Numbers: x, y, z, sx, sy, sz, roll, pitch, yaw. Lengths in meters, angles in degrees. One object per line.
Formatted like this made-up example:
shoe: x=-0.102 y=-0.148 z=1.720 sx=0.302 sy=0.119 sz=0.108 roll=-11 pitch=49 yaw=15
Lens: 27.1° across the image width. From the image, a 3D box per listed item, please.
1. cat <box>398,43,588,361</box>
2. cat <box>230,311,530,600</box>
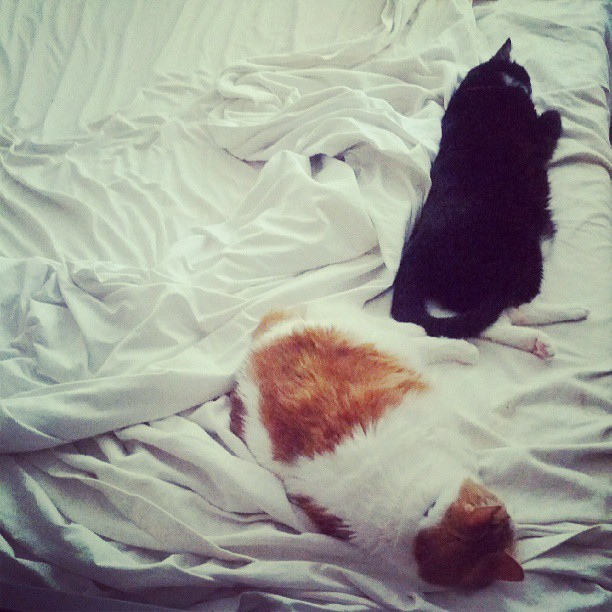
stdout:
cat: x=0.466 y=-0.285 z=3.052 sx=0.342 sy=0.160 sz=0.756 roll=5 pitch=78 yaw=45
cat: x=0.154 y=0.321 z=2.750 sx=0.465 sy=0.234 sz=0.636 roll=-38 pitch=72 yaw=-7
